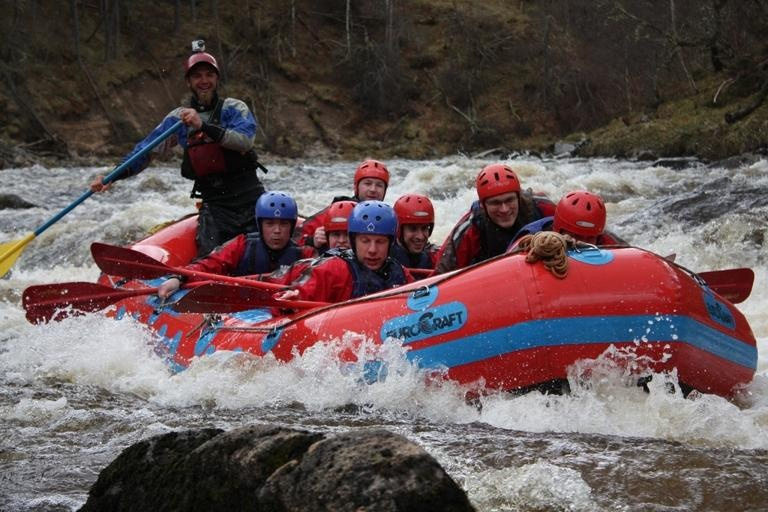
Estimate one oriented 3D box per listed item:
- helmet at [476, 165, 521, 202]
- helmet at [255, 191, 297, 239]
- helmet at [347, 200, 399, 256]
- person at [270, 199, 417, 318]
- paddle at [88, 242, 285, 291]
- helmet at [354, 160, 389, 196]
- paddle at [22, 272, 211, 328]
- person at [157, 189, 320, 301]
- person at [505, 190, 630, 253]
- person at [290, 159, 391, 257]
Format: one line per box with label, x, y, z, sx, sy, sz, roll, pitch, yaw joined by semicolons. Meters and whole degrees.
helmet;1.292;-0.842;10.894;0.367;0.490;0.489;-10;-18;-2
helmet;-1.302;-0.522;11.453;0.365;0.455;0.485;2;-17;-4
helmet;-0.135;-0.310;10.521;0.415;0.523;0.554;4;-21;-1
person;-0.435;0.050;10.573;1.221;0.766;0.458;10;6;20
paddle;-2.251;0.118;11.070;2.109;0.319;0.099;13;-1;7
helmet;-0.178;-1.059;12.219;0.369;0.495;0.421;4;2;-8
paddle;-2.955;0.497;10.715;3.055;0.729;0.230;-2;13;9
person;-1.589;-0.188;11.283;1.057;0.848;1.679;-3;10;-17
person;2.226;-0.313;10.444;0.686;0.393;1.000;24;12;29
person;-0.548;-0.568;12.319;0.937;0.581;1.252;-7;-19;-24
